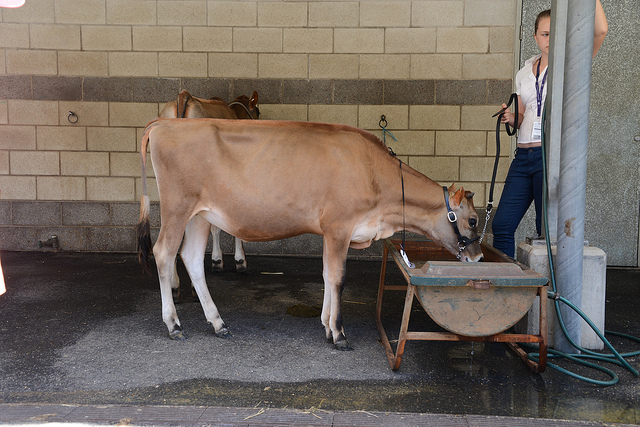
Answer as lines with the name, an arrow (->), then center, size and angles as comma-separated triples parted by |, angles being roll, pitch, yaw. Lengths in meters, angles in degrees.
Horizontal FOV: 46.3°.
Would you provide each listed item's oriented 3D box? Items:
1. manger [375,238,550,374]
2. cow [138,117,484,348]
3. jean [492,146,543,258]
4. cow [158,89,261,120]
manger -> 1.498, 0.843, 8.178 | 1.805, 1.351, 2.124 | 1, 3, 1
cow -> -0.106, 0.207, 8.290 | 3.685, 2.424, 0.854 | 2, 4, -5
jean -> 2.206, -0.158, 8.071 | 0.597, 0.485, 1.264 | 8, -2, -1
cow -> -1.453, -1.411, 9.830 | 0.578, 0.451, 1.800 | 1, 12, 20
